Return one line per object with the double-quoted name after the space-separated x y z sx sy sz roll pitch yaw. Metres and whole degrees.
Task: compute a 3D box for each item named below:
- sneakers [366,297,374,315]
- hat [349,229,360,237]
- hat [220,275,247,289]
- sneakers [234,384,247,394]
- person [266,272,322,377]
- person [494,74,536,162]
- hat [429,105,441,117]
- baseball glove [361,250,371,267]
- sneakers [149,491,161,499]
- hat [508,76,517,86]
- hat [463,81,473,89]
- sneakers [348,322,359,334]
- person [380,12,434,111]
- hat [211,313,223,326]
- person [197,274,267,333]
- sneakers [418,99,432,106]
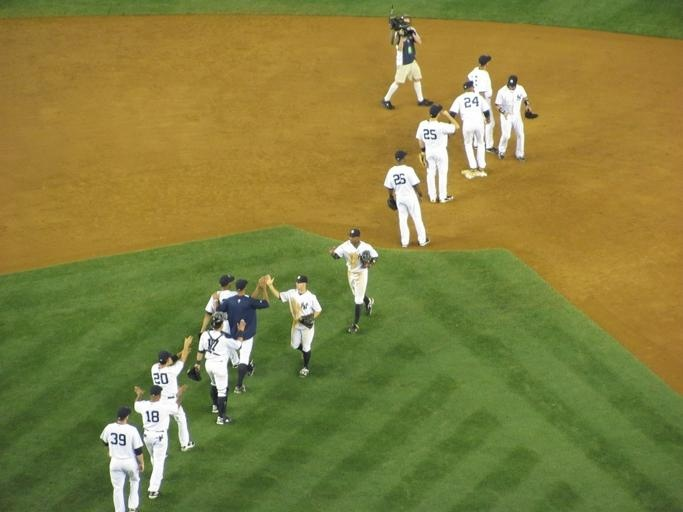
0.680 1.243 27.282 0.142 0.422 0.186 2 11 4 "sneakers"
0.301 -0.553 27.267 0.259 0.161 0.397 0 4 -2 "hat"
-2.523 0.651 25.609 0.567 0.363 0.382 -8 34 -6 "hat"
-2.392 3.108 25.788 0.132 0.144 0.298 8 17 19 "sneakers"
-1.118 1.632 25.870 1.254 2.500 1.060 -1 16 -8 "person"
4.971 -3.918 31.939 0.951 2.479 0.895 2 28 14 "person"
2.511 -3.852 29.654 0.299 0.383 0.562 3 23 6 "hat"
0.580 0.079 26.489 0.241 0.393 0.105 1 22 1 "baseball glove"
-4.111 5.203 24.129 0.211 0.097 0.102 -2 57 -15 "sneakers"
4.874 -4.966 31.627 0.242 0.359 0.343 7 13 13 "hat"
3.572 -4.774 31.199 0.266 0.232 0.443 3 23 6 "hat"
0.280 1.776 26.913 0.131 0.184 0.355 -5 3 -35 "sneakers"
1.979 -5.825 33.958 1.340 2.939 0.988 -7 34 -5 "person"
-2.778 1.431 24.744 0.204 0.267 0.281 4 20 3 "hat"
-2.604 1.182 26.154 0.928 1.638 0.477 12 28 13 "person"
2.624 -4.793 35.094 0.460 0.205 0.176 -3 64 -1 "sneakers"
